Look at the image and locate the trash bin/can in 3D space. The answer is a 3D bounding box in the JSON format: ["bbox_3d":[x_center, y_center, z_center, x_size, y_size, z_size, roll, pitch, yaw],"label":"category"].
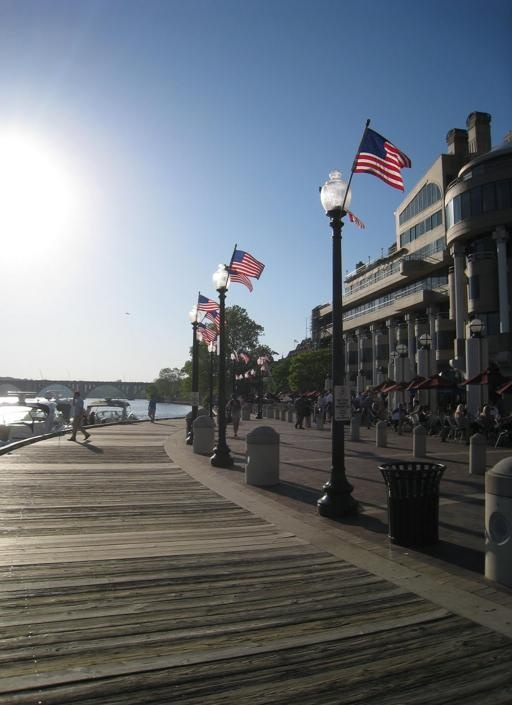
[{"bbox_3d":[1.625,1.684,6.813,0.873,0.977,0.835,-1,-9,-2],"label":"trash bin/can"}]
